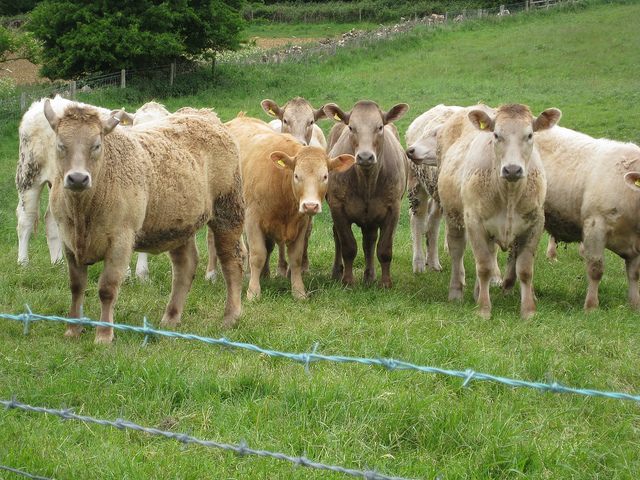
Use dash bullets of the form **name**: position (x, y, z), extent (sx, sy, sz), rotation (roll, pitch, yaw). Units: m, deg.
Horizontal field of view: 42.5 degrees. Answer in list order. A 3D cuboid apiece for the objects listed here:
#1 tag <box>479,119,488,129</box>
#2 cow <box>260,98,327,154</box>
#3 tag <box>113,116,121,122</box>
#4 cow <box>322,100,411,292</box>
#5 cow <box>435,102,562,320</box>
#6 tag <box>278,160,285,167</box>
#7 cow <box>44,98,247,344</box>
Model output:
- **tag**: position (2.226, -1.572, 11.233), extent (0.030, 0.118, 0.083), rotation (-20, -21, -40)
- **cow**: position (-0.445, -1.921, 15.585), extent (1.023, 1.643, 2.691), rotation (0, 10, -3)
- **tag**: position (-2.451, -1.453, 9.910), extent (0.057, 0.054, 0.212), rotation (-1, 7, -14)
- **cow**: position (0.736, -0.619, 13.346), extent (1.122, 2.873, 4.129), rotation (2, 1, 4)
- **cow**: position (2.522, -0.429, 12.195), extent (1.182, 3.098, 4.183), rotation (-3, 6, 0)
- **tag**: position (-0.557, -1.084, 11.739), extent (0.063, 0.074, 0.021), rotation (7, 10, 0)
- **cow**: position (-2.384, -0.193, 10.849), extent (1.612, 3.095, 3.816), rotation (5, 4, 26)
